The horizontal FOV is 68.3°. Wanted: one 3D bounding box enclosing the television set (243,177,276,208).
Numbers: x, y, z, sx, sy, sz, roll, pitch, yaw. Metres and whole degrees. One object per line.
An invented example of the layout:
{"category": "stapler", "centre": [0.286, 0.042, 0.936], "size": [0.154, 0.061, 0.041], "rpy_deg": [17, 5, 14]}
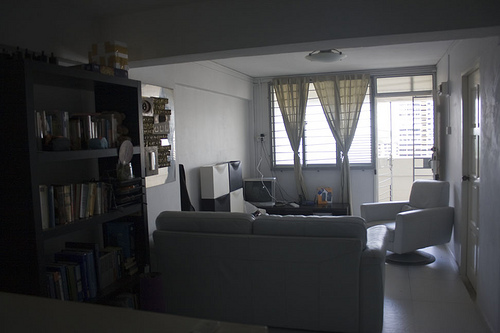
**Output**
{"category": "television set", "centre": [0.235, 0.397, 6.674], "size": [0.634, 0.557, 0.381], "rpy_deg": [0, 22, 26]}

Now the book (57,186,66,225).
{"category": "book", "centre": [-1.301, 0.266, 2.521], "size": [0.042, 0.191, 0.187], "rpy_deg": [-3, 1, -21]}

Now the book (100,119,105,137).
{"category": "book", "centre": [-1.142, -0.296, 2.831], "size": [0.013, 0.134, 0.036], "rpy_deg": [4, 6, 42]}

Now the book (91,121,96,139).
{"category": "book", "centre": [-1.180, -0.277, 2.748], "size": [0.023, 0.123, 0.068], "rpy_deg": [-1, 5, -1]}

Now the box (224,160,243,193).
{"category": "box", "centre": [-0.276, 0.155, 5.629], "size": [0.245, 0.478, 0.493], "rpy_deg": [-1, 2, 15]}

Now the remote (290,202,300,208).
{"category": "remote", "centre": [0.783, 0.669, 6.463], "size": [0.154, 0.016, 0.417], "rpy_deg": [-1, 5, -4]}

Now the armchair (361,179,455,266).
{"category": "armchair", "centre": [2.124, 0.732, 4.949], "size": [0.979, 1.033, 0.798], "rpy_deg": [-4, 3, -25]}

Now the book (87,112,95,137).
{"category": "book", "centre": [-1.194, -0.307, 2.746], "size": [0.037, 0.169, 0.097], "rpy_deg": [-1, 5, -11]}

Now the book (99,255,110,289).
{"category": "book", "centre": [-1.141, 0.808, 2.836], "size": [0.041, 0.230, 0.112], "rpy_deg": [1, 5, 14]}

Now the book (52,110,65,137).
{"category": "book", "centre": [-1.335, -0.296, 2.531], "size": [0.067, 0.176, 0.103], "rpy_deg": [-1, 5, -12]}

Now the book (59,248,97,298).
{"category": "book", "centre": [-1.260, 0.775, 2.660], "size": [0.310, 0.311, 0.216], "rpy_deg": [-3, -2, 24]}

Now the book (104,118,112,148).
{"category": "book", "centre": [-1.114, -0.262, 2.881], "size": [0.031, 0.217, 0.064], "rpy_deg": [-1, 5, -2]}

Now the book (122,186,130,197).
{"category": "book", "centre": [-0.992, 0.196, 2.942], "size": [0.015, 0.055, 0.058], "rpy_deg": [-7, -11, 41]}

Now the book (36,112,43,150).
{"category": "book", "centre": [-1.394, -0.232, 2.412], "size": [0.025, 0.238, 0.051], "rpy_deg": [-3, 5, -31]}

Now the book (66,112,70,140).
{"category": "book", "centre": [-1.308, -0.289, 2.624], "size": [0.017, 0.181, 0.107], "rpy_deg": [-3, 5, -26]}

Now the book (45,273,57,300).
{"category": "book", "centre": [-1.342, 0.803, 2.459], "size": [0.047, 0.186, 0.116], "rpy_deg": [-3, 5, -27]}

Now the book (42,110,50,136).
{"category": "book", "centre": [-1.377, -0.293, 2.470], "size": [0.019, 0.159, 0.043], "rpy_deg": [2, 5, 28]}

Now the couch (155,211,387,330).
{"category": "couch", "centre": [0.280, 1.189, 3.457], "size": [1.786, 0.966, 1.000], "rpy_deg": [0, 5, 10]}

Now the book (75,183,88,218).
{"category": "book", "centre": [-1.216, 0.243, 2.662], "size": [0.041, 0.180, 0.174], "rpy_deg": [-1, 2, -13]}

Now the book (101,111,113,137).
{"category": "book", "centre": [-1.132, -0.326, 2.876], "size": [0.095, 0.170, 0.172], "rpy_deg": [-4, 9, -12]}

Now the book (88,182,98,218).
{"category": "book", "centre": [-1.173, 0.247, 2.717], "size": [0.042, 0.185, 0.176], "rpy_deg": [2, -1, -10]}

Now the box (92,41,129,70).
{"category": "box", "centre": [-1.154, -0.888, 2.988], "size": [0.285, 0.211, 0.289], "rpy_deg": [3, 9, 44]}

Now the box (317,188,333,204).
{"category": "box", "centre": [1.322, 0.520, 6.458], "size": [0.274, 0.261, 0.256], "rpy_deg": [-1, -8, 4]}

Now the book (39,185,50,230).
{"category": "book", "centre": [-1.365, 0.268, 2.428], "size": [0.049, 0.277, 0.118], "rpy_deg": [-3, 5, -29]}

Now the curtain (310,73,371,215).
{"category": "curtain", "centre": [1.645, -0.509, 6.571], "size": [0.965, 2.254, 0.332], "rpy_deg": [1, 5, 16]}

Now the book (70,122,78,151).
{"category": "book", "centre": [-1.261, -0.221, 2.623], "size": [0.034, 0.190, 0.027], "rpy_deg": [-2, 5, -20]}

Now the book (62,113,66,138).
{"category": "book", "centre": [-1.314, -0.293, 2.573], "size": [0.008, 0.156, 0.036], "rpy_deg": [2, 5, 23]}

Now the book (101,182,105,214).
{"category": "book", "centre": [-1.127, 0.233, 2.792], "size": [0.026, 0.226, 0.050], "rpy_deg": [-1, 5, -11]}
